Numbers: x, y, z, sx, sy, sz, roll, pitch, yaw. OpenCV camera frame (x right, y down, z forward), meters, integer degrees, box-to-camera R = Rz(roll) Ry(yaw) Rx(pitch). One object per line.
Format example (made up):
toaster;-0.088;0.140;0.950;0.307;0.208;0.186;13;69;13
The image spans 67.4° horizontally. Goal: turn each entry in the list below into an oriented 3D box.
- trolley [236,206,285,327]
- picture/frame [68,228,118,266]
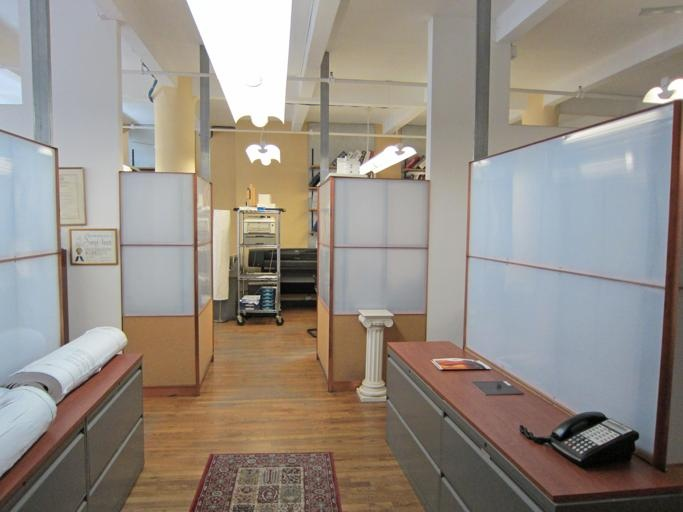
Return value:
trolley;-1.392;0.158;8.670;0.719;2.106;0.867;0;1;-2
picture/frame;-2.472;-0.098;5.135;0.360;0.319;0.025;0;1;-4
